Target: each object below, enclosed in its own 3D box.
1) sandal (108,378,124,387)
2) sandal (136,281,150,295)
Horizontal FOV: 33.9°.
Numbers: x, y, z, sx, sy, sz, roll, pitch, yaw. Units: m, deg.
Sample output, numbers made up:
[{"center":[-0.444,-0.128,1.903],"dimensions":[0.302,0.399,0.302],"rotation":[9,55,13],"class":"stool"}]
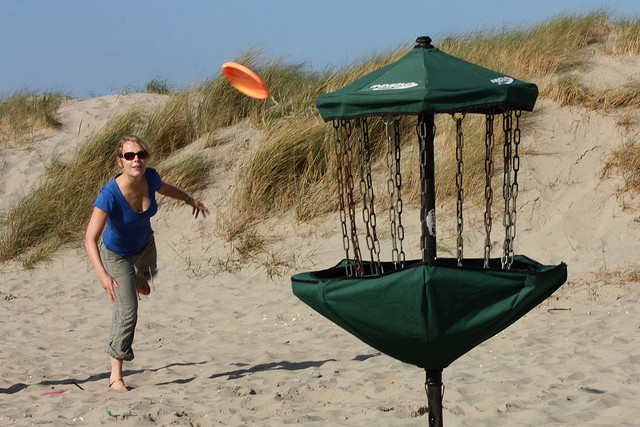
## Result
[{"center":[-2.902,2.371,14.937],"dimensions":[0.222,0.138,0.133],"rotation":[-4,13,-7],"class":"sandal"},{"center":[-2.557,1.061,15.183],"dimensions":[0.158,0.161,0.177],"rotation":[-1,6,-39],"class":"sandal"}]
